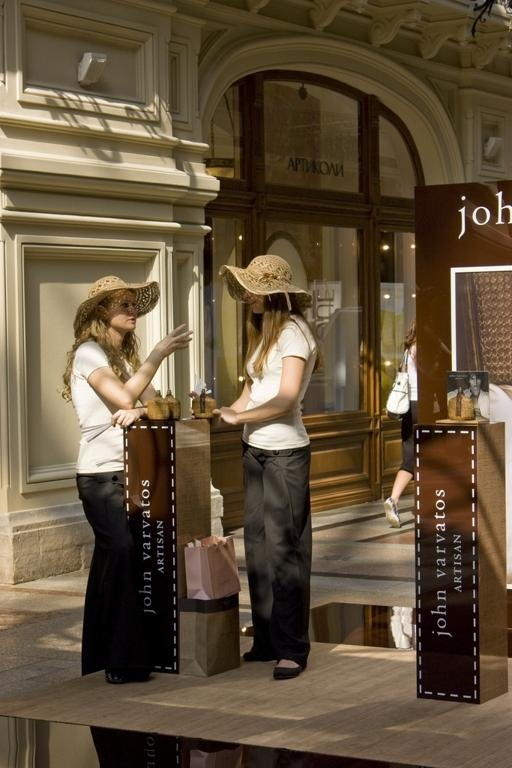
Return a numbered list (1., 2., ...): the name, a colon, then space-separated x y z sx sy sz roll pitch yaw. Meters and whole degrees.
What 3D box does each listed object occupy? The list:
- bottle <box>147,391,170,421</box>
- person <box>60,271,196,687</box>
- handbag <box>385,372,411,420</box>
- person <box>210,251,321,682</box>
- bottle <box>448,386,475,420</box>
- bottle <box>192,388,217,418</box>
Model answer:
1. bottle: -0.385 0.096 3.106 0.108 0.114 0.105 1 -1 -8
2. person: -0.565 0.356 3.158 0.432 1.688 0.526 0 -7 -14
3. handbag: 1.369 0.107 7.386 0.223 0.437 0.194 -3 -7 9
4. person: 0.070 0.304 3.267 0.424 1.808 0.547 -3 -7 5
5. bottle: 0.735 0.070 2.829 0.128 0.138 0.099 2 5 37
6. bottle: -0.196 0.082 3.214 0.118 0.125 0.114 0 -3 -2
